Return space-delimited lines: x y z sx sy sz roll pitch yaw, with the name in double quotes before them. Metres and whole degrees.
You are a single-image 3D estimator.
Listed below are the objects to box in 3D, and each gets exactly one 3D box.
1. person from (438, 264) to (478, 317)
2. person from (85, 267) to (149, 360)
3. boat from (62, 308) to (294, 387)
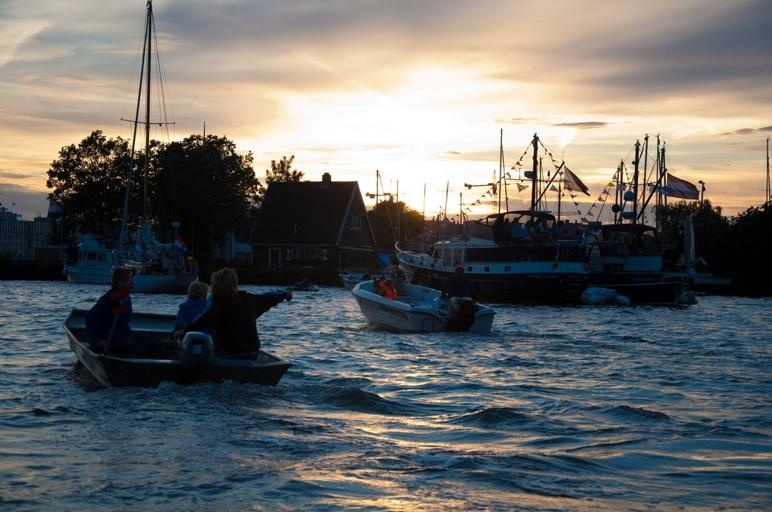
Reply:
"person" 2.162 1.093 31.166 1.054 1.559 0.777 2 2 3
"person" -5.679 1.177 22.366 0.876 1.896 0.910 3 2 29
"boat" -5.186 2.141 24.520 3.930 1.194 5.930 3 1 -26
